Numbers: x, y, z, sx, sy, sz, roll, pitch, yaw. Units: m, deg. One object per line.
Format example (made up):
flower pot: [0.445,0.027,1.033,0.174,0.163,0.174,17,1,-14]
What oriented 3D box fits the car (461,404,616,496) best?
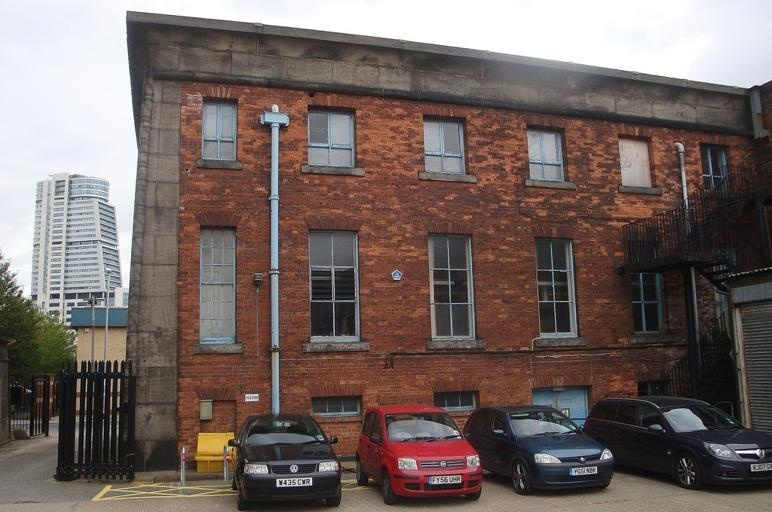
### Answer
car: [4.396,5.541,23.497,3.920,2.376,1.803,-10,-12,39]

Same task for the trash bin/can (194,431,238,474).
trash bin/can: [-5.262,6.084,25.212,1.171,1.075,0.608,1,-7,-10]

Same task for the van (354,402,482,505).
van: [0.610,5.609,23.243,2.118,1.555,3.201,3,-16,-17]

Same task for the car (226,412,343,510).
car: [-2.697,5.648,22.390,2.781,2.461,1.644,-2,-9,-8]
